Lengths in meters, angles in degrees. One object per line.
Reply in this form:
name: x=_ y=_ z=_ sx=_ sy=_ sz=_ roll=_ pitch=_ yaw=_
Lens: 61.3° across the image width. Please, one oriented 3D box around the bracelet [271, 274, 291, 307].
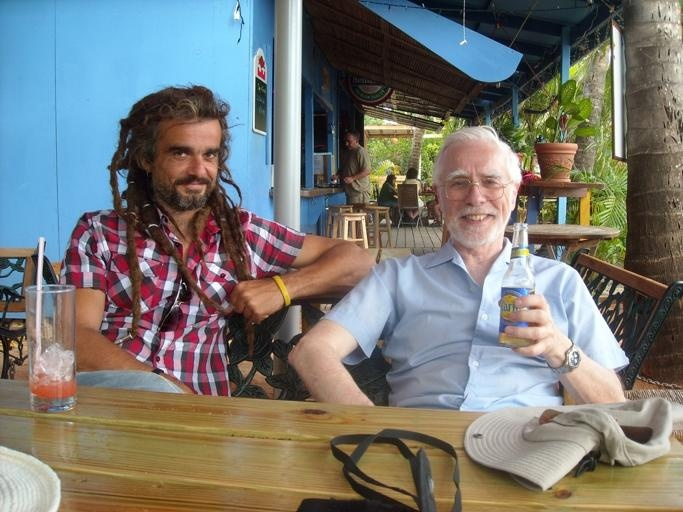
bracelet: x=-0.228 y=0.129 z=2.177 sx=0.026 sy=0.095 sz=0.102 roll=-31 pitch=-20 yaw=-6
